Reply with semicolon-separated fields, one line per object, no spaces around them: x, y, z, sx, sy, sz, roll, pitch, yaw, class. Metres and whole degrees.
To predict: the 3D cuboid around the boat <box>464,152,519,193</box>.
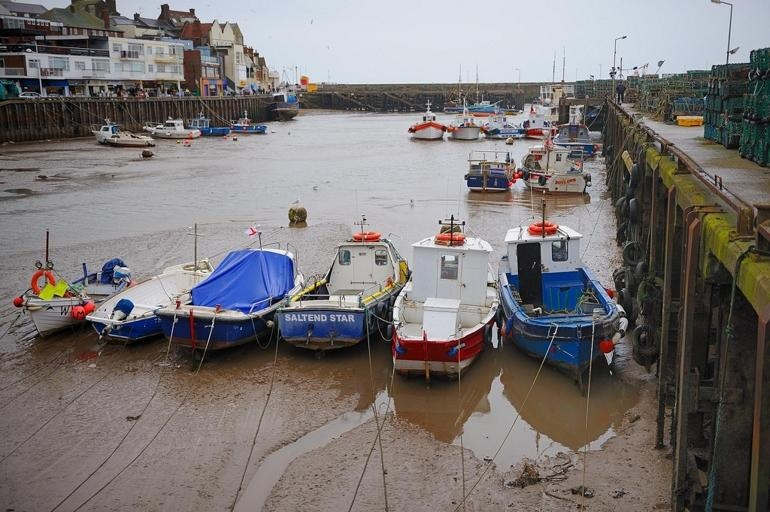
5.633;-3.808;33.037;2.648;2.370;5.692;1;18;9;boat

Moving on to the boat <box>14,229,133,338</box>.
-7.899;0.758;15.812;1.869;2.214;3.414;5;16;5;boat

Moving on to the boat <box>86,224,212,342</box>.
-5.542;0.867;15.455;1.488;1.803;3.587;5;22;10;boat

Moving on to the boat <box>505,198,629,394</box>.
3.823;0.852;14.257;1.807;2.216;4.788;-4;31;5;boat

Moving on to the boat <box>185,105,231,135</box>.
-18.249;-13.110;62.139;5.964;2.969;2.400;16;26;25;boat

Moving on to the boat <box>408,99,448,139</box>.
4.004;-12.382;60.149;3.221;3.062;7.012;-1;20;2;boat

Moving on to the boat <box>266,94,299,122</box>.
-13.652;-19.936;82.714;2.208;3.861;4.154;7;22;28;boat

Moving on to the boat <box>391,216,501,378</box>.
1.235;1.039;13.306;1.421;2.035;4.607;2;27;12;boat

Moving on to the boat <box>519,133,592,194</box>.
8.125;-4.176;29.724;2.187;2.148;3.453;-14;22;-26;boat

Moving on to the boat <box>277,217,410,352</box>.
-0.783;0.699;14.961;1.747;2.092;4.137;4;21;15;boat

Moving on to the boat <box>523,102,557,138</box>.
14.677;-12.474;57.488;2.417;4.123;8.103;-1;18;7;boat
